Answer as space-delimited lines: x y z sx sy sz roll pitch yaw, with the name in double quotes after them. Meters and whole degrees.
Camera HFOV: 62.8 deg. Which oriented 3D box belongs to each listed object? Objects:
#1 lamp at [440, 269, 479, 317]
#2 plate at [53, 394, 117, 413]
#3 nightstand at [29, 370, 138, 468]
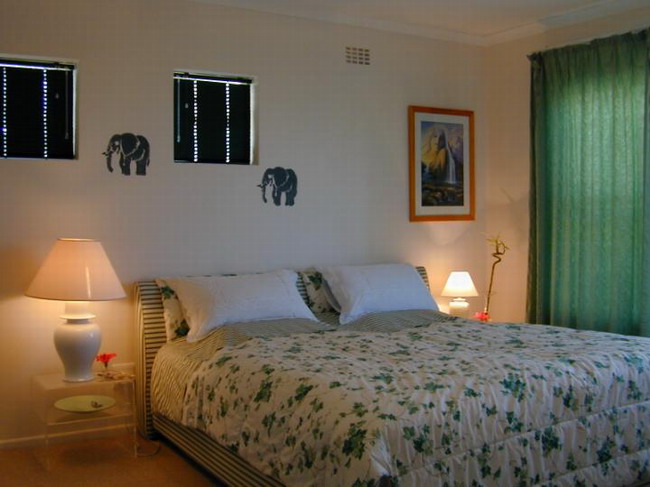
1.305 0.521 5.102 0.334 0.474 0.380 -3 -5 4 "lamp"
-1.594 1.071 3.527 0.366 0.081 0.173 0 6 8 "plate"
-1.646 1.024 3.686 0.671 0.732 0.521 -1 3 -26 "nightstand"
